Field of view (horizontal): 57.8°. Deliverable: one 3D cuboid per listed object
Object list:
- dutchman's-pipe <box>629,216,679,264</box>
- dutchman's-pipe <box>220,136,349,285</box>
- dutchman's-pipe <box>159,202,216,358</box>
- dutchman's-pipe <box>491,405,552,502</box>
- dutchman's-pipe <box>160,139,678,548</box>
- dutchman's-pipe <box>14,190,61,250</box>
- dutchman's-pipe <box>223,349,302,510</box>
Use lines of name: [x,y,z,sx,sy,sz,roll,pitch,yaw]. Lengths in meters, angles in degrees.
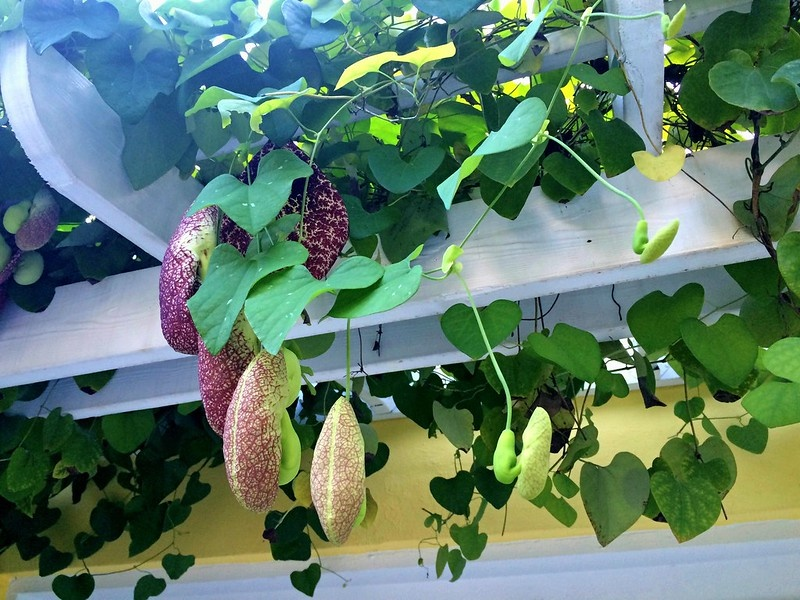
dutchman's-pipe: [0.341,-0.080,0.972,0.066,0.024,0.060,-13,72,62]
dutchman's-pipe: [-0.163,-0.109,1.102,0.182,0.051,0.220,20,93,24]
dutchman's-pipe: [-0.316,-0.033,1.131,0.106,0.069,0.201,-22,69,25]
dutchman's-pipe: [0.168,0.189,0.946,0.049,0.070,0.121,14,86,15]
dutchman's-pipe: [-0.131,0.058,1.278,0.526,0.210,0.546,12,64,32]
dutchman's-pipe: [-0.667,-0.145,1.343,0.040,0.066,0.118,-19,60,59]
dutchman's-pipe: [-0.191,0.185,1.071,0.108,0.061,0.211,12,86,7]
